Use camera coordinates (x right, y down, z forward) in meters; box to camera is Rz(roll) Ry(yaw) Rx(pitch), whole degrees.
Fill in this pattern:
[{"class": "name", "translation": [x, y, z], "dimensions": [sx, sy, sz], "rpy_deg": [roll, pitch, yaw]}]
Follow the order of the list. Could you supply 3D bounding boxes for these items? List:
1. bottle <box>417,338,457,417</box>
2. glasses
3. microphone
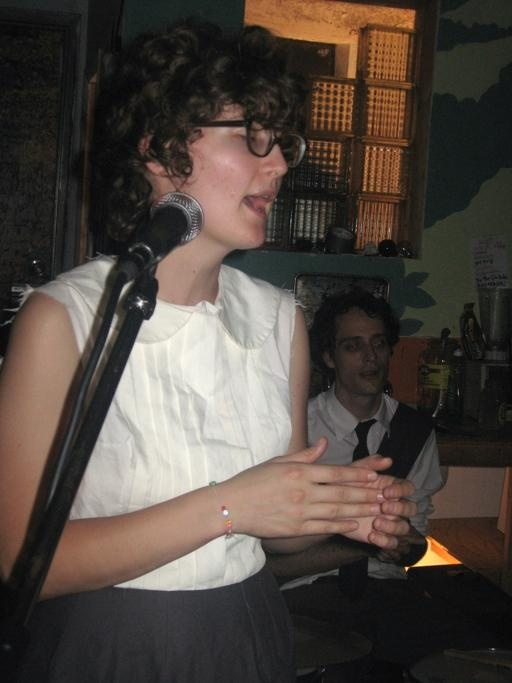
[{"class": "bottle", "translation": [0.802, 0.154, 2.886], "dimensions": [0.217, 0.318, 0.137], "rpy_deg": [0, -4, 9]}, {"class": "glasses", "translation": [0.011, -0.355, 1.124], "dimensions": [0.149, 0.039, 0.145], "rpy_deg": [-1, -2, 33]}, {"class": "microphone", "translation": [-0.140, -0.125, 0.840], "dimensions": [0.073, 0.055, 0.181], "rpy_deg": [6, 40, 22]}]
